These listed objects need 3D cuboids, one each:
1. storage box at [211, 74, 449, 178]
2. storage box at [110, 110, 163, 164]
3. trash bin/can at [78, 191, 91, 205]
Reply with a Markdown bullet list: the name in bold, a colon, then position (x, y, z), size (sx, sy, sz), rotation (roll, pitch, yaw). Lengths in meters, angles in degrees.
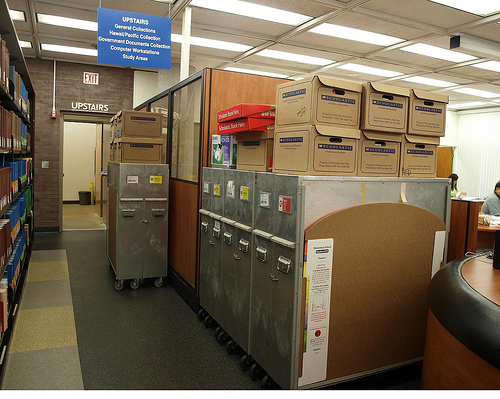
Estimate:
- **storage box**: position (0.848, -0.505, 2.778), size (1.290, 0.682, 0.413), rotation (-2, 6, -18)
- **storage box**: position (-1.558, -0.831, 5.105), size (0.639, 0.788, 1.109), rotation (-1, 6, -19)
- **trash bin/can**: position (-5.455, -0.052, 12.270), size (0.376, 0.342, 0.412), rotation (1, -2, -18)
